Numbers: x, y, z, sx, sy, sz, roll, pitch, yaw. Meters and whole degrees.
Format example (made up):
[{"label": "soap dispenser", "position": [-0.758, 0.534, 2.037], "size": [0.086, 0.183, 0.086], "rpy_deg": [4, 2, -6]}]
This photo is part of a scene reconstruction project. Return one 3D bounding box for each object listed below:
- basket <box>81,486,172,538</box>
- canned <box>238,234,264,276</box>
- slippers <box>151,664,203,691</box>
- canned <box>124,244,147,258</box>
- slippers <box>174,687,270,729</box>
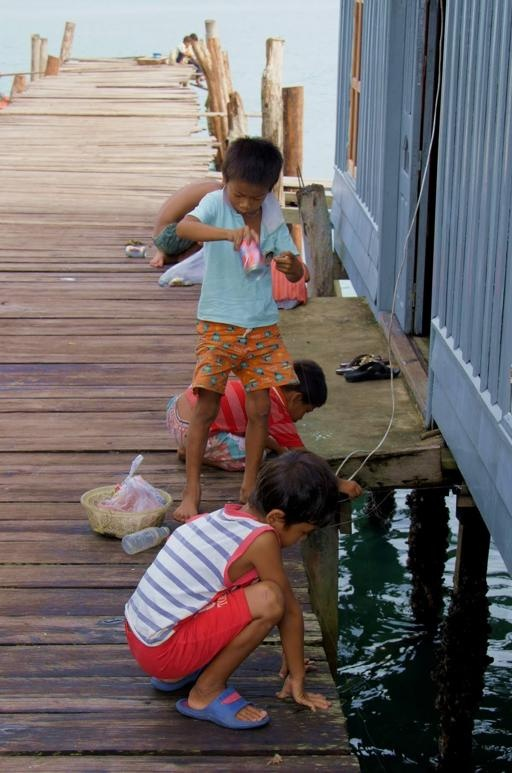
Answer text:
[{"label": "basket", "position": [-0.484, 0.477, 2.912], "size": [0.287, 0.090, 0.284], "rpy_deg": [6, 4, 39]}, {"label": "canned", "position": [-0.018, -0.449, 2.752], "size": [0.076, 0.113, 0.136], "rpy_deg": [-2, 18, -1]}, {"label": "slippers", "position": [-0.201, 0.761, 2.121], "size": [0.147, 0.038, 0.051], "rpy_deg": [-12, 24, -36]}, {"label": "canned", "position": [-0.985, -1.086, 6.545], "size": [0.159, 0.100, 0.100], "rpy_deg": [3, -6, -9]}, {"label": "slippers", "position": [-0.080, 0.761, 1.950], "size": [0.204, 0.070, 0.094], "rpy_deg": [5, 14, 22]}]
